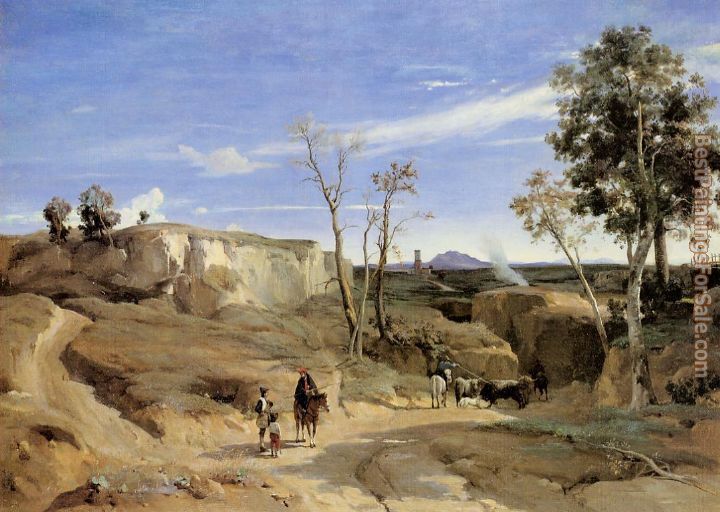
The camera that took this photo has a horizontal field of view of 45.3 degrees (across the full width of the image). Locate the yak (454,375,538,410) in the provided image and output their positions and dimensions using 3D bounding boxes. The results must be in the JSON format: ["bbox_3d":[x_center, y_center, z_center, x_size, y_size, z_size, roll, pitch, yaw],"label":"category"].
[{"bbox_3d":[7.436,6.980,45.050,4.839,2.095,1.737,0,-21,8],"label":"yak"}]
